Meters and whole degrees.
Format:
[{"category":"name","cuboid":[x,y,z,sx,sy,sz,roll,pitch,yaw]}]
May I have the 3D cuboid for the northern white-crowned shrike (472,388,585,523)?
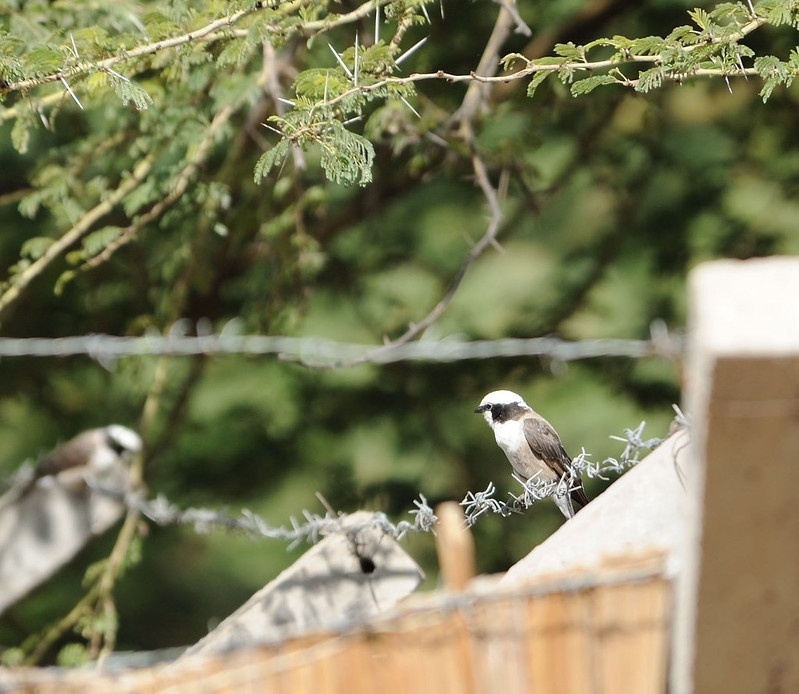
[{"category":"northern white-crowned shrike","cuboid":[0.429,0.325,4.328,0.182,0.387,0.348,-9,77,64]}]
